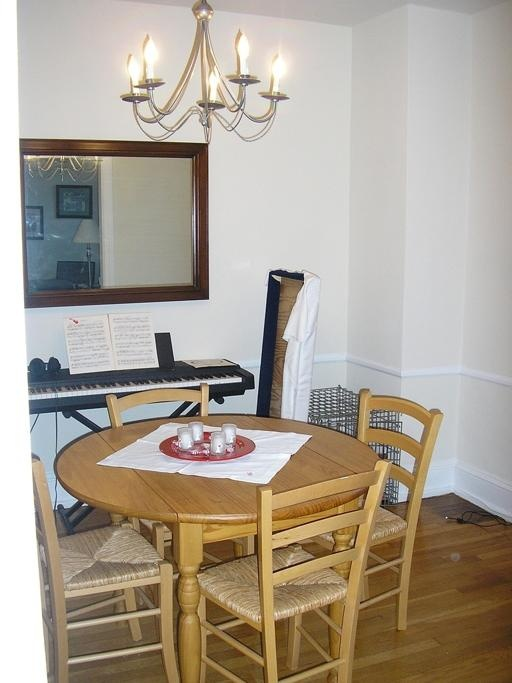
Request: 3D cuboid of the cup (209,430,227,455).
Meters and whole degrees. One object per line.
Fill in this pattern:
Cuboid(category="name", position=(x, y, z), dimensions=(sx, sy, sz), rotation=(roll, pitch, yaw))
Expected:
Cuboid(category="cup", position=(-0.140, 0.382, 2.150), dimensions=(0.072, 0.078, 0.072), rotation=(0, 7, 0))

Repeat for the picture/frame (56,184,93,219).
Cuboid(category="picture/frame", position=(-1.155, -0.883, 3.565), dimensions=(0.222, 0.215, 0.014), rotation=(-5, 10, -22))

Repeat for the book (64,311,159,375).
Cuboid(category="book", position=(-0.926, 0.025, 3.570), dimensions=(0.408, 0.275, 0.023), rotation=(-5, -13, -24))

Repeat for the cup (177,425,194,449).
Cuboid(category="cup", position=(-0.260, 0.366, 2.139), dimensions=(0.068, 0.078, 0.073), rotation=(0, 2, 0))

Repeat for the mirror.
Cuboid(category="mirror", position=(-0.933, -0.781, 3.590), dimensions=(1.400, 1.112, 0.095), rotation=(-2, 4, -23))

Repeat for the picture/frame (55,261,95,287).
Cuboid(category="picture/frame", position=(-1.151, -0.433, 3.633), dimensions=(0.193, 0.172, 0.044), rotation=(-4, 7, -25))

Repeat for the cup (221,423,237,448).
Cuboid(category="cup", position=(-0.100, 0.360, 2.191), dimensions=(0.076, 0.117, 0.072), rotation=(-1, 1, 0))

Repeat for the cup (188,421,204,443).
Cuboid(category="cup", position=(-0.232, 0.351, 2.181), dimensions=(0.077, 0.084, 0.076), rotation=(0, 8, 0))
